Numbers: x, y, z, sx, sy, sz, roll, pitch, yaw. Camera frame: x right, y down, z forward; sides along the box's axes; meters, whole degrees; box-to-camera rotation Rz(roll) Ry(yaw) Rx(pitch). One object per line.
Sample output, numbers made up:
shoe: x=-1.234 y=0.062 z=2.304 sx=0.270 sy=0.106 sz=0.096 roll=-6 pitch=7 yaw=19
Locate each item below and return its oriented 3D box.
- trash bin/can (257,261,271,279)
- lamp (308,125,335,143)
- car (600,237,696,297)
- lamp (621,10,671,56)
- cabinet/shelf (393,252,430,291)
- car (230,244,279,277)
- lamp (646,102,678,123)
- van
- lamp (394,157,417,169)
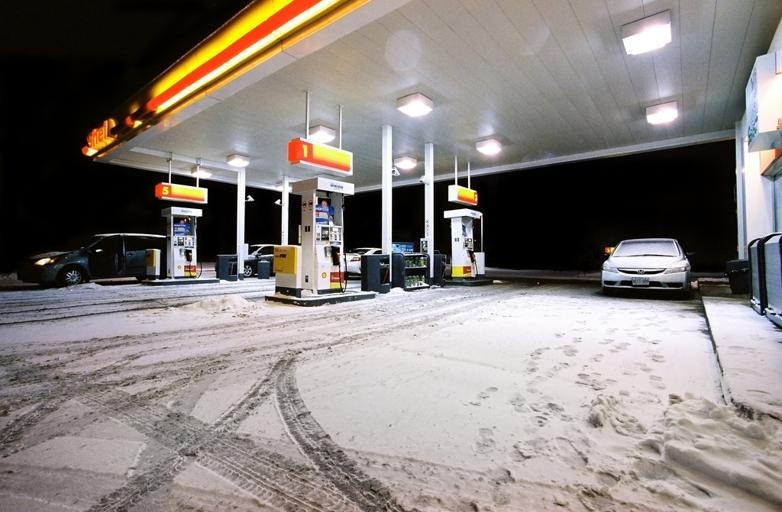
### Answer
trash bin/can: x=-5.301 y=0.574 z=19.974 sx=0.343 sy=0.966 sz=0.724 roll=0 pitch=-3 yaw=32
lamp: x=-2.133 y=-3.822 z=15.151 sx=0.726 sy=0.259 sz=0.704 roll=3 pitch=2 yaw=43
car: x=6.659 y=0.492 z=12.643 sx=1.984 sy=1.478 sz=1.724 roll=6 pitch=14 yaw=29
lamp: x=5.592 y=-4.951 z=10.590 sx=0.953 sy=0.670 sz=0.618 roll=5 pitch=13 yaw=25
cabinet/shelf: x=0.592 y=0.531 z=15.441 sx=0.462 sy=1.039 sz=1.215 roll=-4 pitch=-6 yaw=38
car: x=-5.805 y=0.188 z=20.815 sx=1.501 sy=1.206 sz=2.407 roll=-5 pitch=-9 yaw=43
lamp: x=7.803 y=-4.160 z=13.909 sx=0.547 sy=0.132 sz=0.593 roll=-1 pitch=-11 yaw=40
van: x=-9.945 y=0.143 z=16.102 sx=1.818 sy=1.302 sz=3.657 roll=-1 pitch=-6 yaw=34
lamp: x=0.525 y=-3.743 z=19.223 sx=0.848 sy=0.403 sz=1.242 roll=-1 pitch=11 yaw=0
